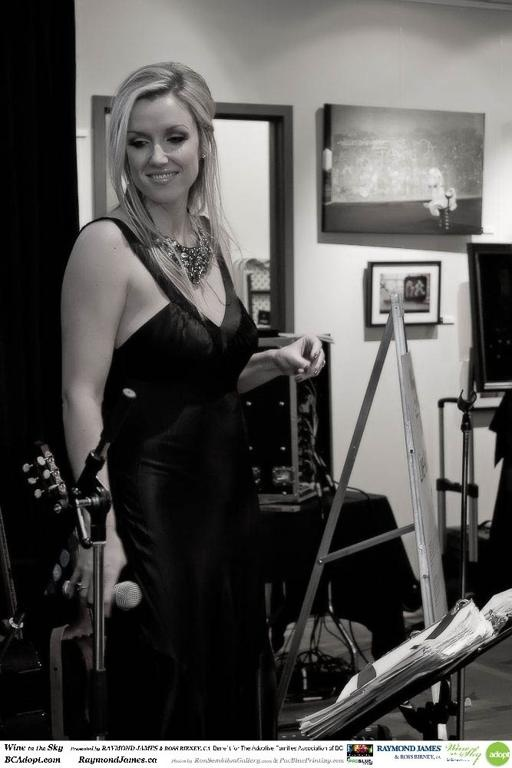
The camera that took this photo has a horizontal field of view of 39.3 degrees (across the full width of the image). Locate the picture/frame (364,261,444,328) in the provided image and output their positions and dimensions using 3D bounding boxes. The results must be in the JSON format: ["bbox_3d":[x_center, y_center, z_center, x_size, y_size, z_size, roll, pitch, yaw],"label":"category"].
[{"bbox_3d":[0.636,-0.409,3.163,0.337,0.396,0.040,-1,1,-16],"label":"picture/frame"}]

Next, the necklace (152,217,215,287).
[{"bbox_3d":[-0.133,-0.227,1.249,0.042,0.089,0.113,-40,-2,26],"label":"necklace"}]

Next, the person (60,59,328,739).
[{"bbox_3d":[-0.125,0.071,1.193,0.176,1.172,0.423,0,1,35],"label":"person"}]
